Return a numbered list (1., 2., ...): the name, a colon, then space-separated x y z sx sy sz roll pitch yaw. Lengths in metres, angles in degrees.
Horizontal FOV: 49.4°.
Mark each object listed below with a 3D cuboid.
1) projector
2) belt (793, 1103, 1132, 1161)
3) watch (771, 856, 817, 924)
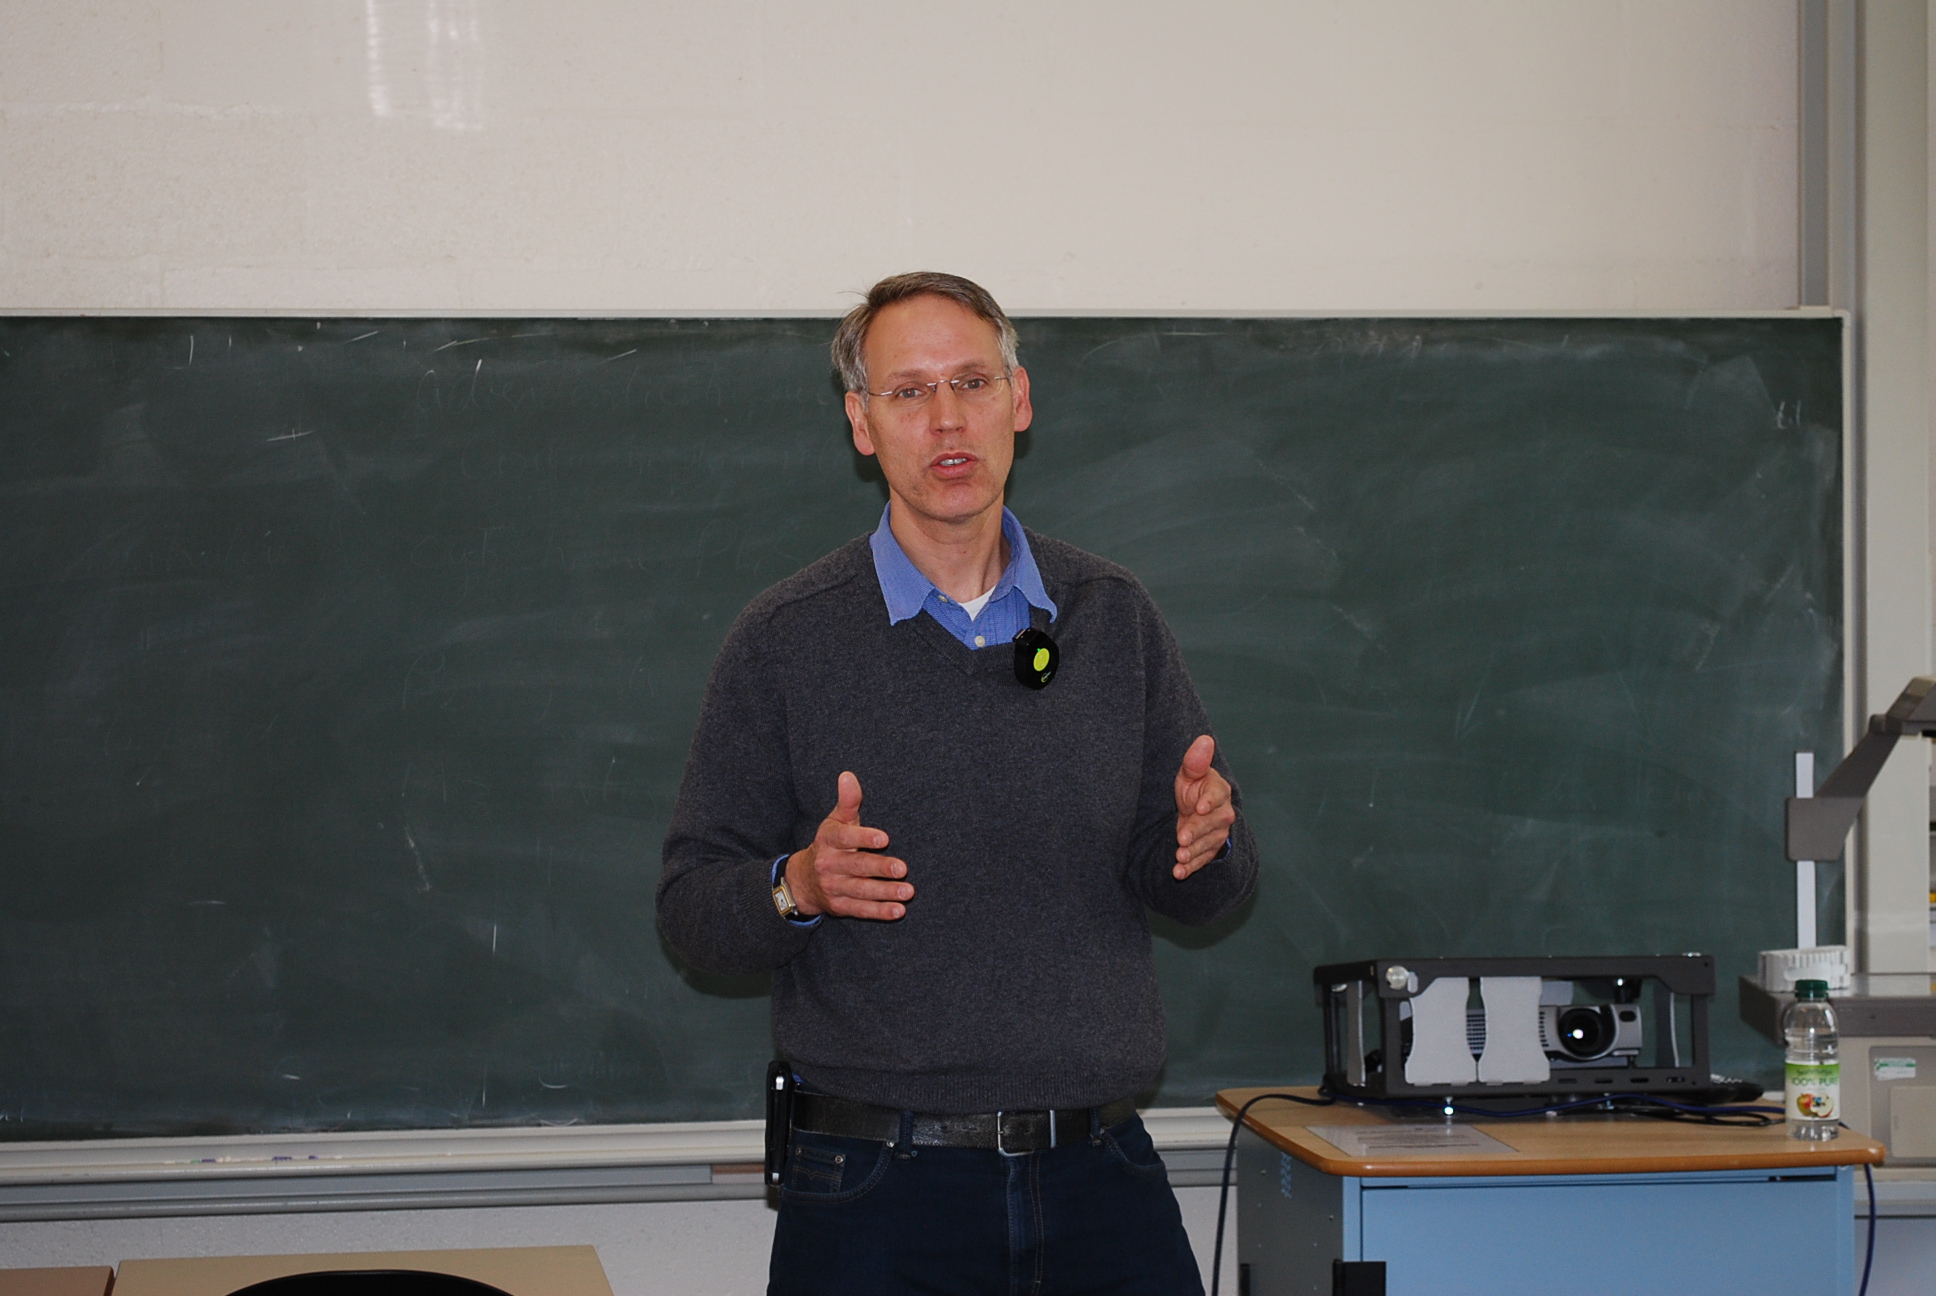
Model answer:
1. projector: 1.103 0.748 4.153 0.642 0.253 0.482 -1 -10 2
2. belt: -0.016 0.812 3.584 0.566 0.098 0.080 -2 0 -3
3. watch: -0.292 0.406 3.501 0.072 0.120 0.092 -2 0 -7
